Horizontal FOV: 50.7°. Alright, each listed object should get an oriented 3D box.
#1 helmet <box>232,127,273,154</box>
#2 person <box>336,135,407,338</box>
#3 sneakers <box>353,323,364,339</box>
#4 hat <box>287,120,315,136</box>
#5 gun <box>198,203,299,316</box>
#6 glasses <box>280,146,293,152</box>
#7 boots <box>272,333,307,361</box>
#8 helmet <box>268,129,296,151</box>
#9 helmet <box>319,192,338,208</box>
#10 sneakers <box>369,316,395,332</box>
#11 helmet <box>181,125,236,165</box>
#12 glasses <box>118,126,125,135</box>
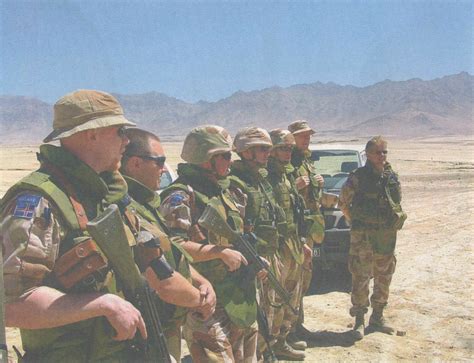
[{"bbox_3d":[0.176,-0.453,5.362,0.473,0.261,0.359,3,5,20],"label":"helmet"},{"bbox_3d":[1.716,0.647,6.219,0.849,2.380,0.654,-5,7,-5],"label":"person"},{"bbox_3d":[1.477,1.804,6.092,0.140,0.144,0.262,-3,6,12],"label":"sneakers"},{"bbox_3d":[0.847,-0.713,6.734,0.241,0.111,0.290,1,-5,-12],"label":"hat"},{"bbox_3d":[0.082,0.684,4.418,0.094,1.494,0.476,-29,22,35],"label":"gun"},{"bbox_3d":[0.571,-0.378,5.823,0.084,0.027,0.085,2,-8,-12],"label":"glasses"},{"bbox_3d":[0.560,1.883,5.724,0.490,0.314,0.164,-2,6,-8],"label":"boots"},{"bbox_3d":[0.533,-0.471,5.869,0.286,0.211,0.216,18,-11,-21],"label":"helmet"},{"bbox_3d":[1.342,0.281,7.339,0.255,0.172,0.217,2,6,6],"label":"helmet"},{"bbox_3d":[1.782,1.772,6.210,0.311,0.139,0.124,3,18,27],"label":"sneakers"},{"bbox_3d":[-0.236,-0.326,4.298,0.387,0.239,0.370,-5,7,13],"label":"helmet"},{"bbox_3d":[-0.706,-0.315,3.100,0.031,0.048,0.045,2,3,-2],"label":"glasses"}]
